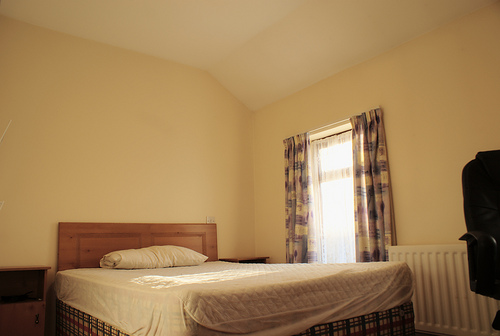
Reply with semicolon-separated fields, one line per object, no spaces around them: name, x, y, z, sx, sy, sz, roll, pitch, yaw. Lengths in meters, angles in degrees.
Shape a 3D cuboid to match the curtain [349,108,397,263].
curtain;1.525;0.207;4.580;0.572;1.942;0.324;-2;-2;33
